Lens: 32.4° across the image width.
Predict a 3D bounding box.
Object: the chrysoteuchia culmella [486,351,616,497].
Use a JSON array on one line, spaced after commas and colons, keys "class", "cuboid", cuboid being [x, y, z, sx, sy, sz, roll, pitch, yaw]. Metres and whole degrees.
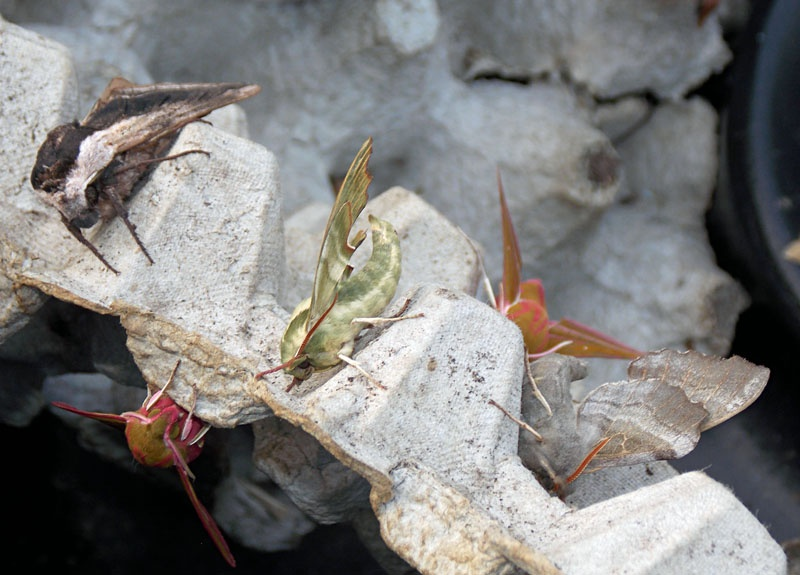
[{"class": "chrysoteuchia culmella", "cuboid": [0.439, 0.406, 4.180, 0.354, 0.167, 0.375, 43, 63, -5]}]
